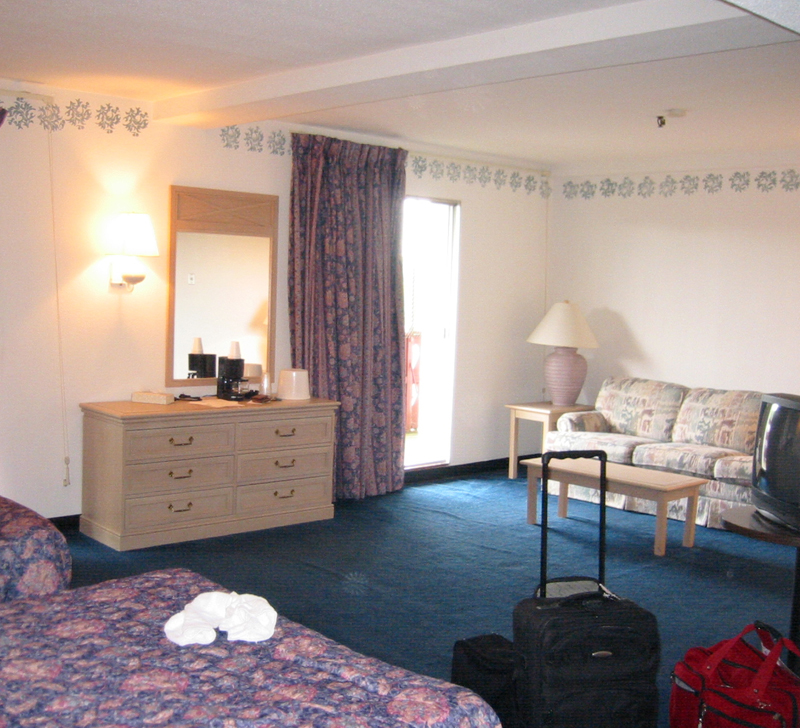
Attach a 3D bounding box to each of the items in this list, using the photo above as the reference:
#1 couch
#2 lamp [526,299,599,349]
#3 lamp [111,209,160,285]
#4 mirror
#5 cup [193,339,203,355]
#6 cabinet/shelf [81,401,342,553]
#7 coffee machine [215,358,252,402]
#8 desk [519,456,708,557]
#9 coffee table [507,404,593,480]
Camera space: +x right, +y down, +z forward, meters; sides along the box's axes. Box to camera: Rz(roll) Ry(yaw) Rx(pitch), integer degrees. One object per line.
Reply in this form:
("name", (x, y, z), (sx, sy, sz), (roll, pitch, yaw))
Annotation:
("couch", (2.205, 0.652, 5.819), (0.859, 0.794, 1.742), (-17, 13, -35))
("lamp", (1.543, -0.349, 6.483), (0.549, 0.388, 0.532), (11, 15, 36))
("lamp", (-1.816, -0.757, 4.712), (0.313, 0.501, 0.338), (1, 4, -18))
("mirror", (-1.302, -0.558, 5.162), (0.851, 1.450, 0.089), (0, 5, -37))
("cup", (-1.482, -0.123, 5.017), (0.103, 0.120, 0.097), (0, 5, 0))
("cabinet/shelf", (-1.307, 0.719, 4.879), (0.672, 0.802, 1.637), (1, 0, 44))
("coffee machine", (-1.253, 0.116, 5.081), (0.346, 0.340, 0.226), (1, 2, 36))
("desk", (1.474, 0.975, 4.937), (0.450, 0.389, 1.180), (1, 0, -38))
("coffee table", (1.290, 0.710, 6.703), (0.787, 0.563, 0.747), (6, -5, -34))
